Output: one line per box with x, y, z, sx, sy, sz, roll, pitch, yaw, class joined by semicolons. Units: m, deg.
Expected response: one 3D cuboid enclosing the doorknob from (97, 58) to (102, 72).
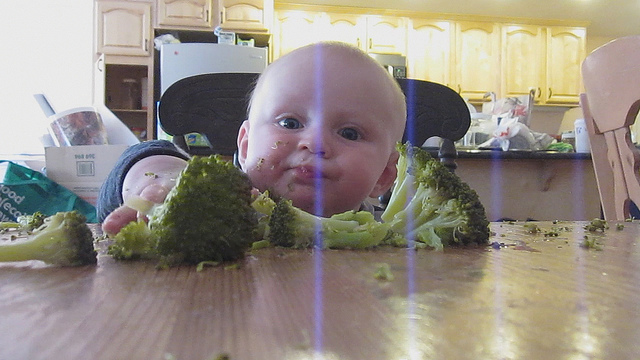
-2.489;-1.279;5.241;0.037;0.135;0.131;-3;6;-33;doorknob

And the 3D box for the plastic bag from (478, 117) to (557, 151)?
1.395;-0.290;3.235;0.406;0.132;0.301;-10;2;-27;plastic bag

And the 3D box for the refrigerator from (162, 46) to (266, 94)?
-1.005;-0.962;4.650;0.946;0.586;0.468;-2;-26;-9;refrigerator

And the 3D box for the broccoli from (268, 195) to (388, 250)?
0.015;0.112;1.288;0.260;0.102;0.157;1;-6;2;broccoli

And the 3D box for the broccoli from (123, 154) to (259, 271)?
-0.383;0.045;1.328;0.392;0.219;0.351;3;12;32;broccoli

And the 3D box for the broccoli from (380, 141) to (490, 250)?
0.344;0.035;1.386;0.305;0.296;0.227;2;5;26;broccoli

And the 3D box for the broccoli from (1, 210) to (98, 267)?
-0.681;0.136;1.182;0.206;0.097;0.121;-6;11;-11;broccoli

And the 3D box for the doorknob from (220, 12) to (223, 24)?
-1.130;-1.831;5.298;0.024;0.130;0.022;-1;5;-11;doorknob
